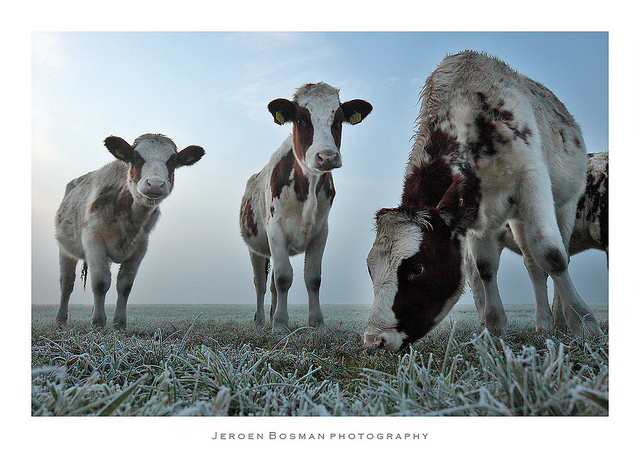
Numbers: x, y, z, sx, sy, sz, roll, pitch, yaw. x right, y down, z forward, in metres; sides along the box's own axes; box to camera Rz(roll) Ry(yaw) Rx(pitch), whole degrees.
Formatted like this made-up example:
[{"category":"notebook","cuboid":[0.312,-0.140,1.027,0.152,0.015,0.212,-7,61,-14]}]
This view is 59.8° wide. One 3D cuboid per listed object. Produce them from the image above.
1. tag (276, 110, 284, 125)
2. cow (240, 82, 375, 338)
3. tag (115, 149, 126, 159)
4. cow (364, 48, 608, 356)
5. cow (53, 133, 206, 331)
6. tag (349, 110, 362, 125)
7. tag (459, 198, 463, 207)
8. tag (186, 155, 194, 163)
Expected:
[{"category":"tag","cuboid":[-0.489,-1.444,6.830,0.068,0.130,0.138,0,-3,25]},{"category":"cow","cuboid":[-0.353,-0.273,7.140,1.278,3.106,3.493,2,-3,-9]},{"category":"tag","cuboid":[-2.533,-1.012,7.047,0.061,0.088,0.194,1,-3,12]},{"category":"cow","cuboid":[1.488,-0.440,4.952,2.530,2.866,1.158,3,-4,-32]},{"category":"cow","cuboid":[-2.811,-0.062,7.534,2.214,2.485,1.092,-1,-4,43]},{"category":"tag","cuboid":[0.443,-1.457,6.943,0.158,0.171,0.050,1,-3,-1]},{"category":"tag","cuboid":[1.162,-0.263,4.581,0.014,0.067,0.050,-1,-4,41]},{"category":"tag","cuboid":[-1.754,-1.008,7.457,0.077,0.084,0.024,2,-15,-11]}]
